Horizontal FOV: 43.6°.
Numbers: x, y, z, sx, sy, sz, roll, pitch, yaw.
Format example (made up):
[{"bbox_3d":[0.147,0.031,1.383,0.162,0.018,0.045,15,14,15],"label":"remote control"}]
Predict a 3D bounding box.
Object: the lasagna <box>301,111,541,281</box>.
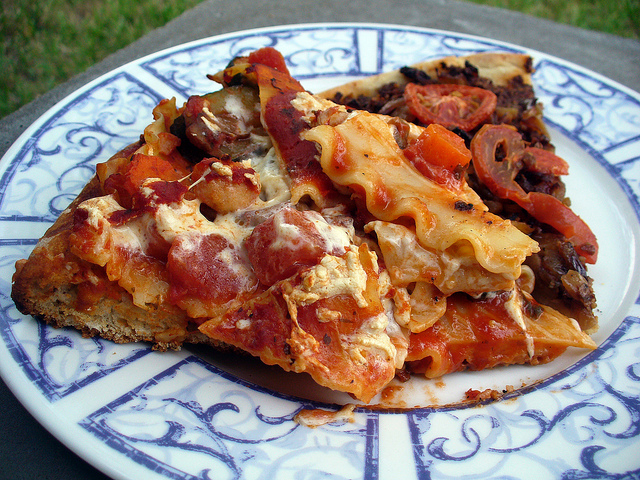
[{"bbox_3d":[0.666,-0.180,6.170,1.664,0.523,1.090,40,42,9],"label":"lasagna"}]
